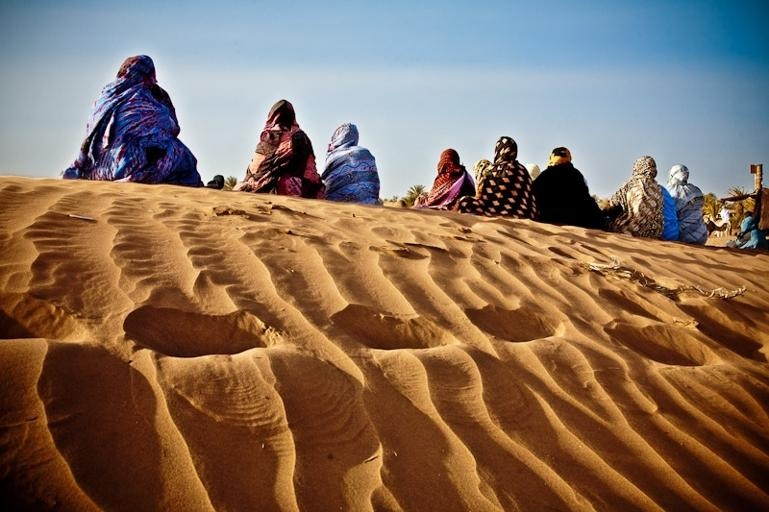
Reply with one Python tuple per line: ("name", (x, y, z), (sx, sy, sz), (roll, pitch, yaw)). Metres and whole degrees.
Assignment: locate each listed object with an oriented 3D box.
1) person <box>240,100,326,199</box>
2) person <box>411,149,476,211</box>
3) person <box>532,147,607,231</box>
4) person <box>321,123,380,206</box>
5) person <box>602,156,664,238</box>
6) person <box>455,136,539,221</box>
("person", (-1.666, -1.403, 8.062), (1.191, 1.576, 1.166), (1, -4, -40))
("person", (1.075, -1.234, 9.888), (0.867, 1.157, 1.168), (11, -19, -33))
("person", (2.758, -1.054, 8.589), (1.049, 1.423, 0.737), (3, 33, 26))
("person", (-0.616, -1.413, 9.106), (0.792, 0.698, 2.325), (-21, -20, -10))
("person", (3.707, -0.726, 8.319), (0.702, 0.914, 0.561), (3, 5, 24))
("person", (1.595, -1.097, 8.276), (0.881, 1.309, 1.336), (10, 4, 26))
